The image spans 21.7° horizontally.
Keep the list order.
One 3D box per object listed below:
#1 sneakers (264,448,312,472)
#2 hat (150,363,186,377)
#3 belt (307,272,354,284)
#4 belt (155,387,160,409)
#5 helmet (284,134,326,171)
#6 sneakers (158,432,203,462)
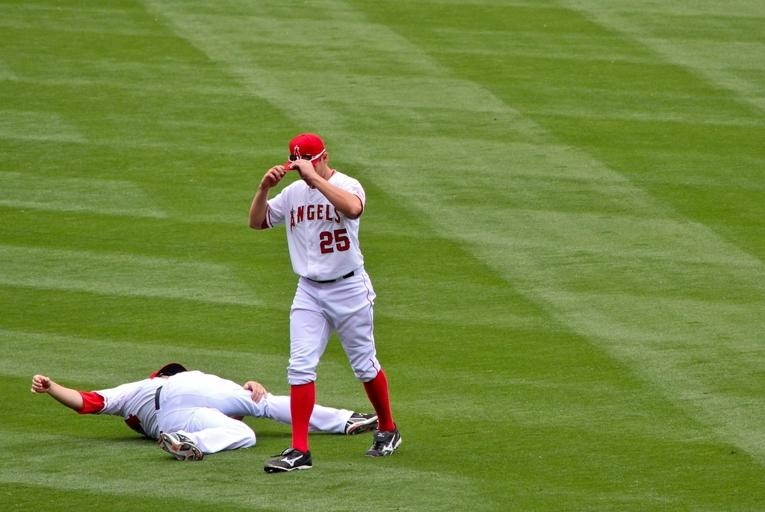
[{"bbox_3d":[-0.960,2.140,20.559,0.578,0.186,0.193,2,-6,-17],"label":"sneakers"},{"bbox_3d":[-2.288,1.246,21.208,0.312,0.073,0.180,-21,4,6],"label":"hat"},{"bbox_3d":[-0.539,0.251,20.802,0.477,0.140,0.087,3,20,-3],"label":"belt"},{"bbox_3d":[-2.360,1.522,20.988,0.059,0.233,0.098,3,20,-6],"label":"belt"},{"bbox_3d":[-0.755,-1.089,20.880,0.359,0.219,0.473,3,21,26],"label":"helmet"},{"bbox_3d":[-2.102,2.011,20.672,0.558,0.178,0.226,20,15,5],"label":"sneakers"}]
